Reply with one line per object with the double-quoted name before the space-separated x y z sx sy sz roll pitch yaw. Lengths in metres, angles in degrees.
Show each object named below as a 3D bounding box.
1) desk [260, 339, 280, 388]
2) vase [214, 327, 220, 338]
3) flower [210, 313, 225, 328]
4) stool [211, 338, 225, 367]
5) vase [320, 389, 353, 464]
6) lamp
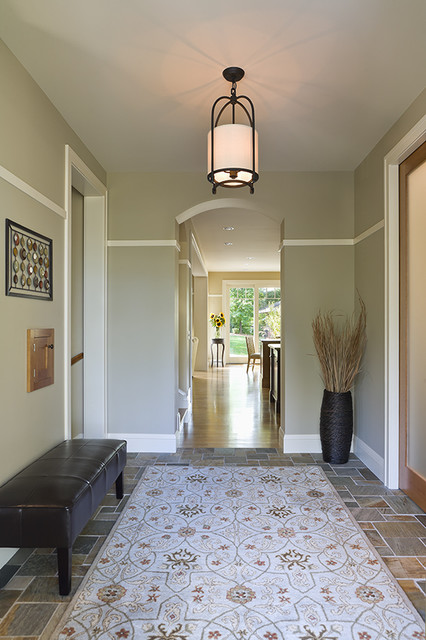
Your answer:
"desk" 0.900 0.698 6.637 0.296 0.858 0.846 0 0 0
"vase" 0.141 0.380 12.041 0.204 0.393 0.224 2 -4 -20
"flower" 0.127 0.046 11.901 0.427 0.449 0.639 0 -1 0
"stool" 0.138 0.891 11.883 0.374 0.798 1.182 0 -1 1
"vase" 1.027 0.894 3.532 0.249 0.610 0.136 0 -1 16
"lamp" 0.107 -0.974 2.296 0.253 0.773 0.709 0 -1 4
